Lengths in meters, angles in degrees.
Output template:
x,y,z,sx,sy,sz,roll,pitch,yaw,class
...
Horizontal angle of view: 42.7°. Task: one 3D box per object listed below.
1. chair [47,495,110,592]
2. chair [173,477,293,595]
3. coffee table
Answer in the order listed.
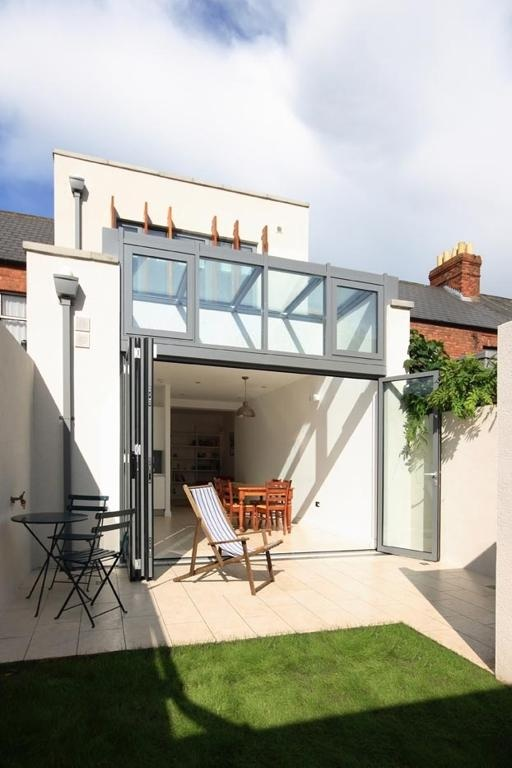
x,y,z,sx,sy,sz,roll,pitch,yaw,class
-1.522,1.352,5.520,0.463,1.038,0.679,-1,-17,1,chair
-0.247,1.397,6.075,1.064,1.368,0.756,-7,-9,29,chair
-1.827,1.545,5.835,0.420,0.577,0.431,-14,-15,40,coffee table
